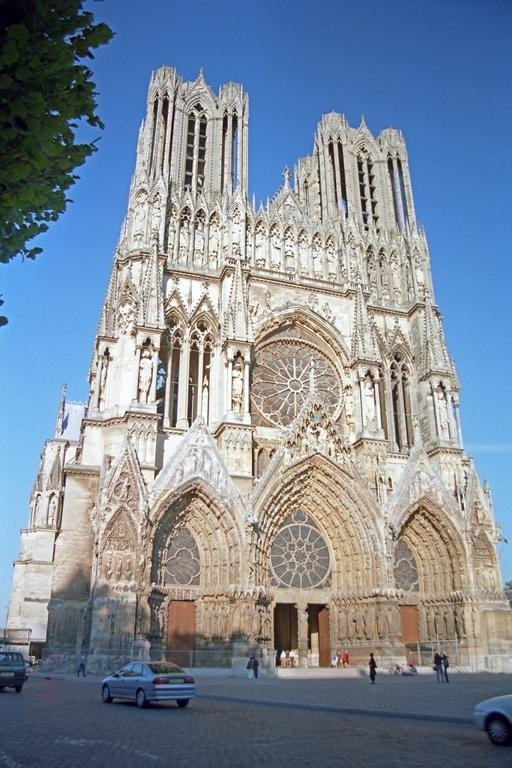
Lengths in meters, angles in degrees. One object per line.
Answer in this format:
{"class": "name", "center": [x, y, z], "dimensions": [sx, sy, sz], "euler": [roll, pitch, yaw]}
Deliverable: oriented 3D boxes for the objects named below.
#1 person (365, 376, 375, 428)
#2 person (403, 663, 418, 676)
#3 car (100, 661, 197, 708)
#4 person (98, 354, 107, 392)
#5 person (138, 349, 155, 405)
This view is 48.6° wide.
{"class": "person", "center": [6.175, 0.899, 30.657], "dimensions": [0.583, 2.833, 0.167], "euler": [12, -26, -24]}
{"class": "person", "center": [6.421, 12.061, 23.887], "dimensions": [0.601, 0.373, 1.753], "euler": [-4, -24, 11]}
{"class": "car", "center": [-2.391, 6.390, 12.391], "dimensions": [0.999, 0.797, 2.368], "euler": [26, -33, -37]}
{"class": "person", "center": [-7.821, -0.613, 28.980], "dimensions": [0.381, 2.073, 0.314], "euler": [4, -23, -6]}
{"class": "person", "center": [-5.284, -0.462, 26.992], "dimensions": [0.681, 2.849, 0.289], "euler": [3, -23, -6]}
